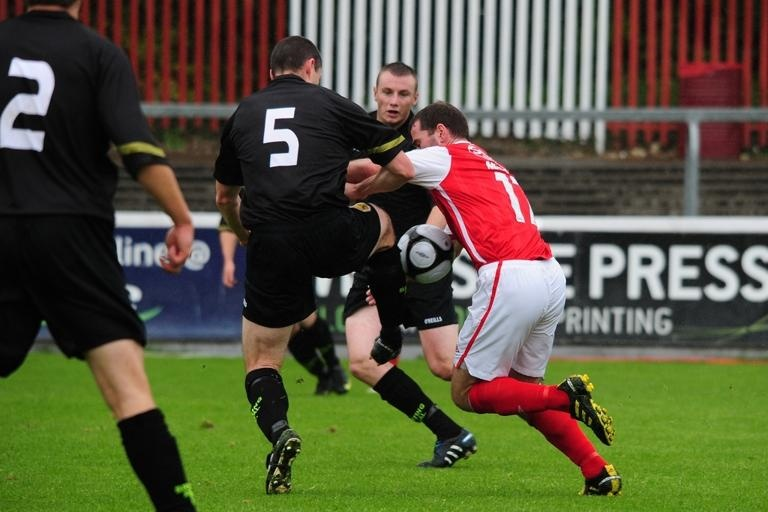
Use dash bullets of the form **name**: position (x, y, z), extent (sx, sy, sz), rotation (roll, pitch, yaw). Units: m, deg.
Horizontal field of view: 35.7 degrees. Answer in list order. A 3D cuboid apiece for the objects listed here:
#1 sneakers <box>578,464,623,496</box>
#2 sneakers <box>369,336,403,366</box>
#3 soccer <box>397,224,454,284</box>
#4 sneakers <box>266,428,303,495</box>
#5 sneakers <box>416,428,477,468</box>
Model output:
- **sneakers**: position (1.520, 1.561, 8.336), extent (0.246, 0.191, 0.175), rotation (-8, 4, -2)
- **sneakers**: position (0.038, 0.716, 8.885), extent (0.220, 0.212, 0.197), rotation (1, 9, -28)
- **soccer**: position (0.332, -0.023, 8.891), extent (0.492, 0.523, 0.478), rotation (-2, 3, 6)
- **sneakers**: position (-0.689, 1.401, 8.210), extent (0.229, 0.437, 0.162), rotation (0, 5, -7)
- **sneakers**: position (0.529, 1.432, 8.916), extent (0.533, 0.234, 0.196), rotation (-28, -10, 2)
